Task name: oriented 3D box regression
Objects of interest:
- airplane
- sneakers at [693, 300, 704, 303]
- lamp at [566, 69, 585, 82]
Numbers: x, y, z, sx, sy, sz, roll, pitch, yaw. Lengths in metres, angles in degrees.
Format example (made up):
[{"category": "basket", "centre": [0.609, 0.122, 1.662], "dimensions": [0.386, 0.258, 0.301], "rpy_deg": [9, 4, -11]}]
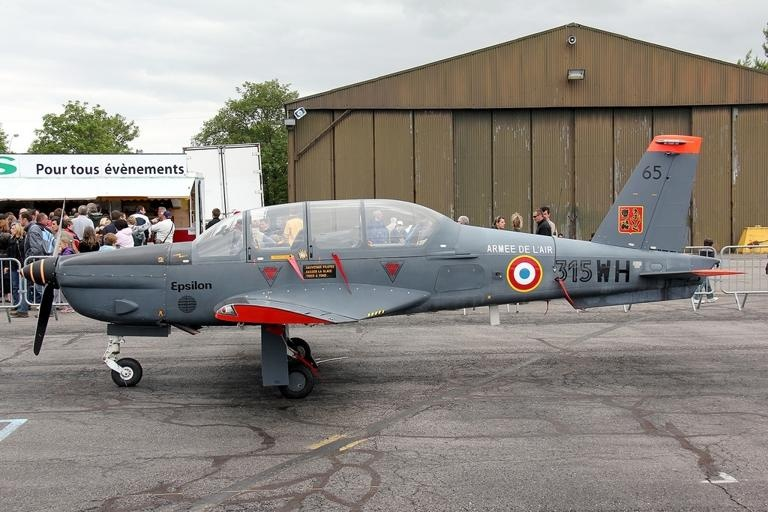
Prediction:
[{"category": "airplane", "centre": [0.273, 0.141, 10.472], "dimensions": [6.392, 1.788, 6.289], "rpy_deg": [0, 0, -2]}, {"category": "sneakers", "centre": [7.023, 1.015, 15.960], "dimensions": [0.172, 0.066, 0.217], "rpy_deg": [2, 7, 14]}, {"category": "lamp", "centre": [7.213, -6.875, 26.958], "dimensions": [0.941, 0.374, 0.539], "rpy_deg": [0, 0, -2]}]
